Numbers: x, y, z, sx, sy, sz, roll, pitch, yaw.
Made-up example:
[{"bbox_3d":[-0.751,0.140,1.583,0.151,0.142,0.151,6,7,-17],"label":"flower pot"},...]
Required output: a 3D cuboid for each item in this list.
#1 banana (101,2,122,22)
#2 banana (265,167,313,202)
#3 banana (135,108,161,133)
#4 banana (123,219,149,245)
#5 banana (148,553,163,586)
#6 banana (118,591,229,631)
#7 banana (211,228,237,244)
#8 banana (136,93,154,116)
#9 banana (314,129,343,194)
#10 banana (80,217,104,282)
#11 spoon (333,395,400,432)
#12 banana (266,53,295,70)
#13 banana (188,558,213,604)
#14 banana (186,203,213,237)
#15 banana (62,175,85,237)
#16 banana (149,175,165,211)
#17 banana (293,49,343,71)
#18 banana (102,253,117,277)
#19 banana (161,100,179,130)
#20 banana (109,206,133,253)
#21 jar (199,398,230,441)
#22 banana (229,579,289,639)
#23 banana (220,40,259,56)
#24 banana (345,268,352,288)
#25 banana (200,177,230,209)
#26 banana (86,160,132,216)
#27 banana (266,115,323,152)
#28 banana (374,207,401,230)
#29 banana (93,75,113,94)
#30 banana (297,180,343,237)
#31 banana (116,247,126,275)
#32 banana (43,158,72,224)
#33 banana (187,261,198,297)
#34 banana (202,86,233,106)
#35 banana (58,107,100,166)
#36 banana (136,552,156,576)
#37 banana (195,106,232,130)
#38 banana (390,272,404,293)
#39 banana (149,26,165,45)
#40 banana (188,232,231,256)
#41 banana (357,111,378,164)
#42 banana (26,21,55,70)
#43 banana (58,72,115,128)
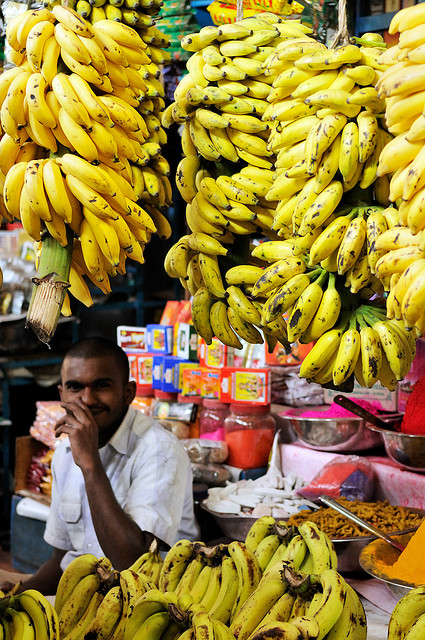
[{"bbox_3d":[-0.185,-0.556,1.042,0.021,0.020,0.067,-22,49,-16],"label":"banana"},{"bbox_3d":[0.116,-0.214,0.964,0.032,0.096,0.030,39,29,-39],"label":"banana"},{"bbox_3d":[-0.131,-0.388,1.136,0.067,0.019,0.022,51,3,19],"label":"banana"},{"bbox_3d":[-0.137,-0.154,1.026,0.045,0.015,0.012,42,-3,-40],"label":"banana"},{"bbox_3d":[-0.103,0.455,1.026,0.009,0.015,0.036,-33,25,39],"label":"banana"},{"bbox_3d":[-0.056,0.384,0.751,0.083,0.083,0.032,32,30,-35],"label":"banana"},{"bbox_3d":[0.030,-0.169,1.167,0.067,0.022,0.017,9,9,-11],"label":"banana"},{"bbox_3d":[-0.130,-0.418,1.123,0.019,0.057,0.020,-3,23,-16],"label":"banana"},{"bbox_3d":[0.173,-0.233,0.863,0.030,0.108,0.036,18,-16,11],"label":"banana"},{"bbox_3d":[-0.184,-0.112,0.912,0.032,0.097,0.027,14,29,28],"label":"banana"},{"bbox_3d":[0.552,0.341,2.061,0.362,0.047,0.030,32,12,-42],"label":"spoon"},{"bbox_3d":[0.110,-0.414,0.920,0.020,0.015,0.054,13,20,-3],"label":"banana"},{"bbox_3d":[-0.014,0.405,0.897,0.015,0.025,0.071,3,40,23],"label":"banana"},{"bbox_3d":[-0.034,-0.201,1.185,0.021,0.074,0.059,-18,12,15],"label":"banana"},{"bbox_3d":[-0.210,-0.177,0.888,0.021,0.088,0.031,-17,25,-21],"label":"banana"},{"bbox_3d":[-0.111,-0.252,1.137,0.017,0.060,0.020,-17,8,-27],"label":"banana"},{"bbox_3d":[0.162,-0.398,0.877,0.076,0.026,0.020,-22,4,-16],"label":"banana"},{"bbox_3d":[-0.178,-0.092,0.992,0.014,0.046,0.013,-8,35,34],"label":"banana"},{"bbox_3d":[-0.086,-0.404,1.154,0.024,0.068,0.018,-4,47,-21],"label":"banana"},{"bbox_3d":[-0.141,-0.144,0.919,0.019,0.069,0.022,-21,40,0],"label":"banana"},{"bbox_3d":[0.008,0.467,2.608,0.133,0.210,0.241,1,18,-1],"label":"jar"},{"bbox_3d":[0.064,0.396,0.778,0.106,0.034,0.028,-42,42,-13],"label":"banana"},{"bbox_3d":[0.046,-0.502,1.059,0.084,0.029,0.028,5,6,19],"label":"banana"},{"bbox_3d":[0.217,-0.065,0.918,0.009,0.026,0.008,4,4,-3],"label":"banana"},{"bbox_3d":[0.001,-0.240,1.084,0.030,0.032,0.087,-8,44,-22],"label":"banana"},{"bbox_3d":[-0.146,-0.192,0.889,0.041,0.028,0.117,-4,-28,29],"label":"banana"},{"bbox_3d":[0.130,-0.299,0.915,0.101,0.029,0.030,-32,14,23],"label":"banana"},{"bbox_3d":[0.257,-0.149,0.838,0.020,0.024,0.041,23,35,-7],"label":"banana"},{"bbox_3d":[-0.172,-0.370,0.897,0.033,0.027,0.090,-2,18,-10],"label":"banana"},{"bbox_3d":[0.161,-0.166,0.896,0.036,0.111,0.036,38,12,2],"label":"banana"},{"bbox_3d":[-0.160,-0.100,1.007,0.015,0.053,0.016,-3,20,-6],"label":"banana"},{"bbox_3d":[-0.229,-0.188,0.842,0.030,0.099,0.034,-24,-21,24],"label":"banana"},{"bbox_3d":[-0.044,-0.090,1.272,0.027,0.072,0.019,-2,31,3],"label":"banana"},{"bbox_3d":[0.007,-0.410,1.046,0.053,0.025,0.023,13,13,22],"label":"banana"},{"bbox_3d":[-0.193,-0.267,0.883,0.035,0.109,0.033,-17,12,46],"label":"banana"},{"bbox_3d":[-0.118,0.447,1.040,0.013,0.017,0.048,26,33,15],"label":"banana"},{"bbox_3d":[0.000,-0.381,1.079,0.055,0.042,0.086,-8,20,-26],"label":"banana"},{"bbox_3d":[0.242,-0.050,0.761,0.010,0.029,0.008,19,23,-5],"label":"banana"},{"bbox_3d":[-0.104,-0.541,1.092,0.017,0.050,0.014,-14,-27,1],"label":"banana"},{"bbox_3d":[-0.011,-0.147,1.118,0.089,0.031,0.034,26,13,22],"label":"banana"},{"bbox_3d":[0.220,-0.262,0.822,0.026,0.029,0.087,-1,51,13],"label":"banana"},{"bbox_3d":[-0.261,-0.420,0.871,0.028,0.069,0.055,5,19,13],"label":"banana"},{"bbox_3d":[-0.181,-0.323,0.846,0.034,0.121,0.043,-24,-7,-14],"label":"banana"}]
